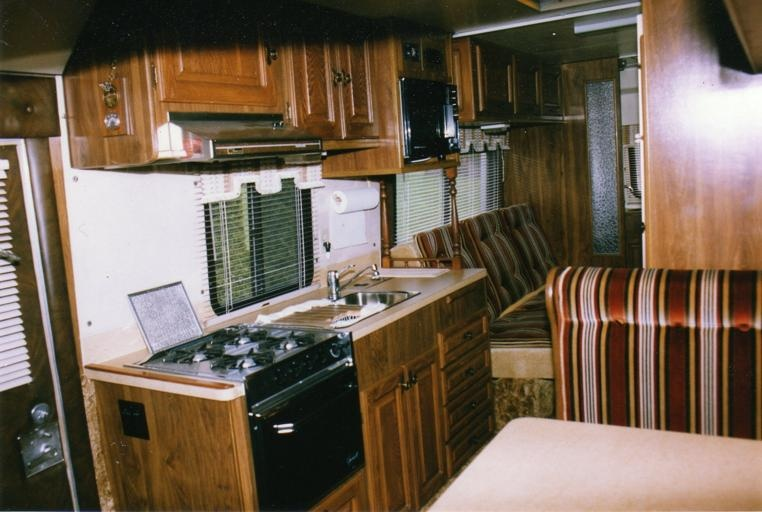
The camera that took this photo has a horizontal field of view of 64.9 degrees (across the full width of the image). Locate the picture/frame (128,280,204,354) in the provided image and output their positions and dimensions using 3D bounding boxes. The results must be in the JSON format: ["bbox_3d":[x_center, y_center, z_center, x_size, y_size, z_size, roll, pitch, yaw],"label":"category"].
[{"bbox_3d":[-1.065,0.306,2.939,0.035,0.300,0.329,-21,3,32],"label":"picture/frame"}]

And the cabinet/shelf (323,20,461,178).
[{"bbox_3d":[0.079,-1.052,4.085,0.604,0.870,1.134,4,15,24],"label":"cabinet/shelf"}]

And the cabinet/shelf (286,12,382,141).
[{"bbox_3d":[-0.279,-1.000,3.319,0.316,0.629,0.792,0,14,26],"label":"cabinet/shelf"}]

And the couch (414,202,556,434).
[{"bbox_3d":[0.683,0.447,4.127,0.647,0.713,1.754,-3,7,26],"label":"couch"}]

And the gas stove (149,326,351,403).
[{"bbox_3d":[-0.639,0.492,2.865,0.730,0.180,0.732,0,9,28],"label":"gas stove"}]

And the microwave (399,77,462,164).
[{"bbox_3d":[0.298,-0.871,3.832,0.373,0.388,0.645,0,15,20],"label":"microwave"}]

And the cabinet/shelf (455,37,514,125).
[{"bbox_3d":[0.810,-1.377,4.714,0.198,0.597,0.845,7,17,31],"label":"cabinet/shelf"}]
